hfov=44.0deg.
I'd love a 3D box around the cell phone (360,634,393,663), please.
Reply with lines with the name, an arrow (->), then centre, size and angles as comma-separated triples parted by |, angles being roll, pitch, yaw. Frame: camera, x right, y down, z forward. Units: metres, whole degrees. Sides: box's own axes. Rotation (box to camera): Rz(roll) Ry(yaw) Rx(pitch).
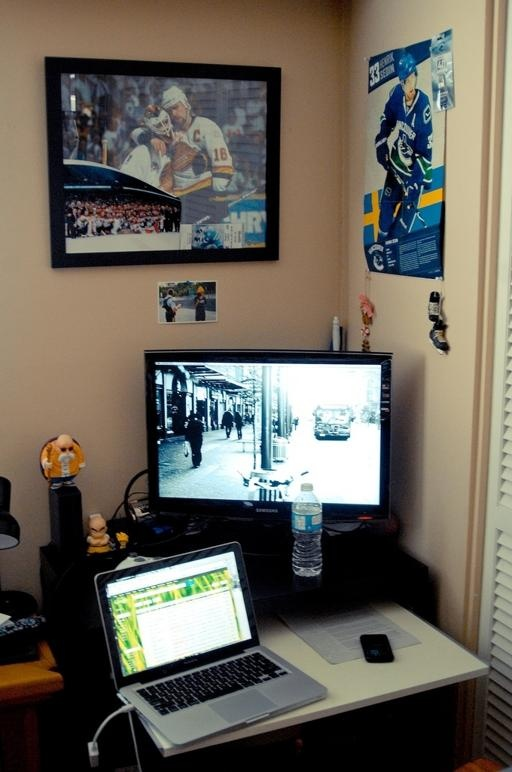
cell phone -> 0.263, 0.569, 1.389 | 0.063, 0.031, 0.103 | 5, 11, -2

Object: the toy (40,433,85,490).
toy -> -0.549, 0.222, 1.805 | 0.120, 0.175, 0.047 | -6, 26, -28

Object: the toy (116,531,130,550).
toy -> -0.396, 0.450, 1.862 | 0.027, 0.044, 0.012 | 0, 0, -10

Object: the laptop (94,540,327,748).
laptop -> -0.094, 0.477, 1.244 | 0.359, 0.241, 0.370 | -2, -3, -27
